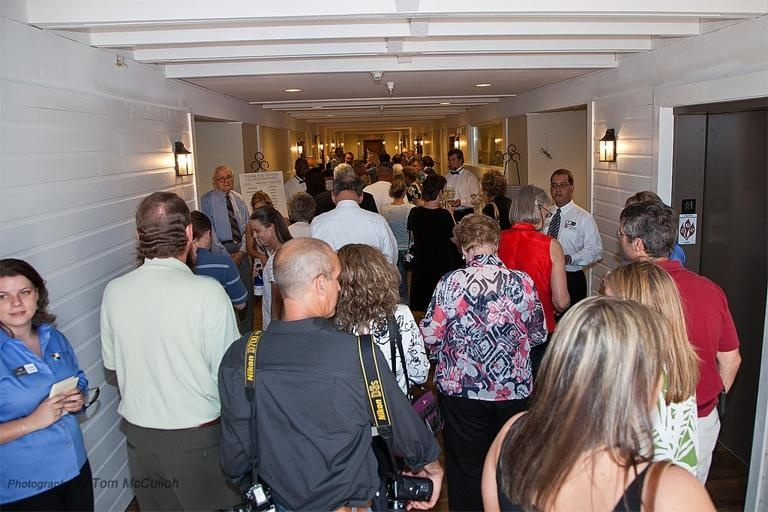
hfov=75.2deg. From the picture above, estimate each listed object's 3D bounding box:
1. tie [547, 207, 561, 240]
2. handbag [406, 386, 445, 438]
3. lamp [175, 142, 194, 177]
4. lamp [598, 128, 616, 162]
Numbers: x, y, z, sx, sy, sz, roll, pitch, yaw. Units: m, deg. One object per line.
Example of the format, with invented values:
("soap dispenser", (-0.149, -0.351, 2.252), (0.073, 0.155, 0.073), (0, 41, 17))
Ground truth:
("tie", (1.744, -0.331, 5.067), (0.114, 0.295, 0.139), (-1, 12, 6))
("handbag", (0.272, 0.829, 2.740), (0.185, 0.162, 0.107), (32, 28, -6))
("lamp", (-2.019, -0.982, 5.036), (0.121, 0.355, 0.308), (-3, 12, -7))
("lamp", (2.369, -1.173, 5.273), (0.147, 0.330, 0.103), (6, 14, 32))
